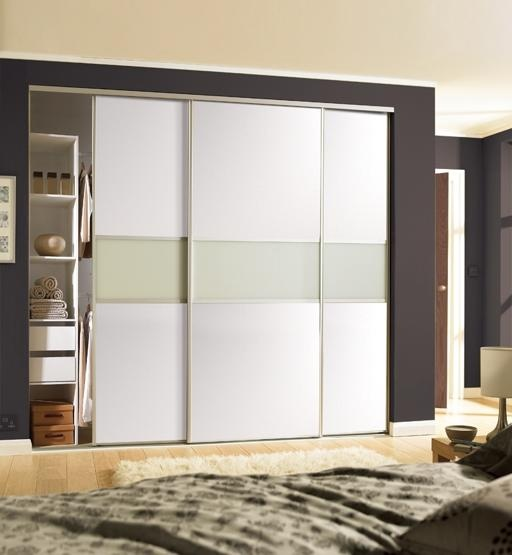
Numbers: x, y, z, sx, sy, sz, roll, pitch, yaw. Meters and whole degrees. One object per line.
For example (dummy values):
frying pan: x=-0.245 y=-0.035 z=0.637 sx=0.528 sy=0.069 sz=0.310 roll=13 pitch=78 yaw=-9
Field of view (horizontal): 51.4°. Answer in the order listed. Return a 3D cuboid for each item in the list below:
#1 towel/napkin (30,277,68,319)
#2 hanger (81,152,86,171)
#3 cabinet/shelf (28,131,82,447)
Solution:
towel/napkin: x=-1.393 y=0.150 z=3.500 sx=0.171 sy=0.325 sz=0.090 roll=0 pitch=-3 yaw=-1
hanger: x=-1.159 y=-0.789 z=3.572 sx=0.035 sy=0.102 sz=0.022 roll=0 pitch=-6 yaw=-22
cabinet/shelf: x=-1.364 y=0.054 z=3.552 sx=0.271 sy=1.985 sz=0.169 roll=0 pitch=-3 yaw=-33
